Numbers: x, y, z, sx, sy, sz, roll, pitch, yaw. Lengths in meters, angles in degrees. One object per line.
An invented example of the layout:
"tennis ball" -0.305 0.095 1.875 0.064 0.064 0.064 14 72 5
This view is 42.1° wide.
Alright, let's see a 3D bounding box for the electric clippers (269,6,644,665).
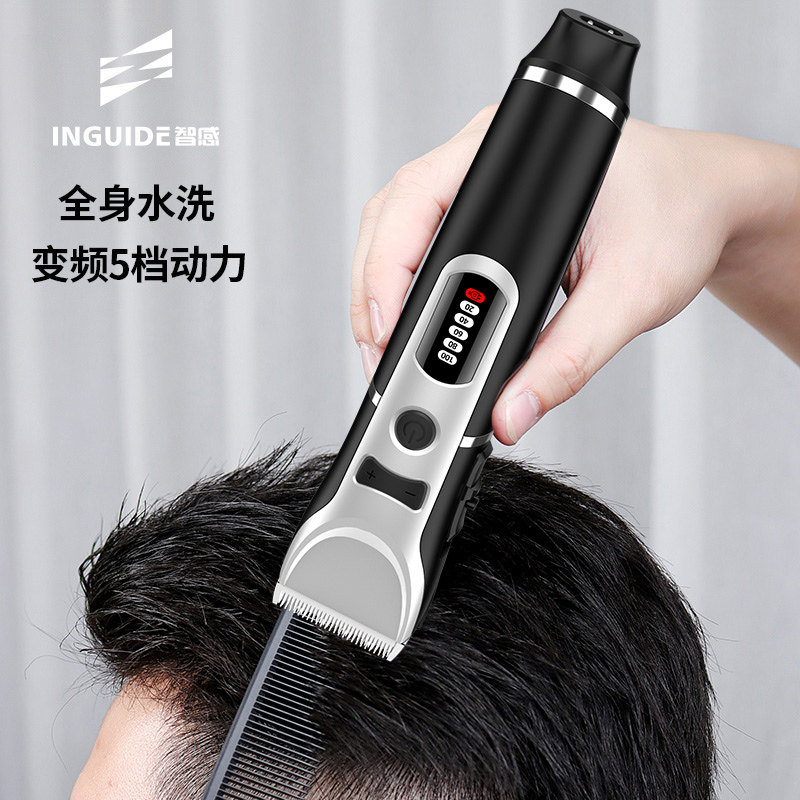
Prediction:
"electric clippers" 0.039 -0.035 0.800 0.169 0.130 0.579 26 89 6
